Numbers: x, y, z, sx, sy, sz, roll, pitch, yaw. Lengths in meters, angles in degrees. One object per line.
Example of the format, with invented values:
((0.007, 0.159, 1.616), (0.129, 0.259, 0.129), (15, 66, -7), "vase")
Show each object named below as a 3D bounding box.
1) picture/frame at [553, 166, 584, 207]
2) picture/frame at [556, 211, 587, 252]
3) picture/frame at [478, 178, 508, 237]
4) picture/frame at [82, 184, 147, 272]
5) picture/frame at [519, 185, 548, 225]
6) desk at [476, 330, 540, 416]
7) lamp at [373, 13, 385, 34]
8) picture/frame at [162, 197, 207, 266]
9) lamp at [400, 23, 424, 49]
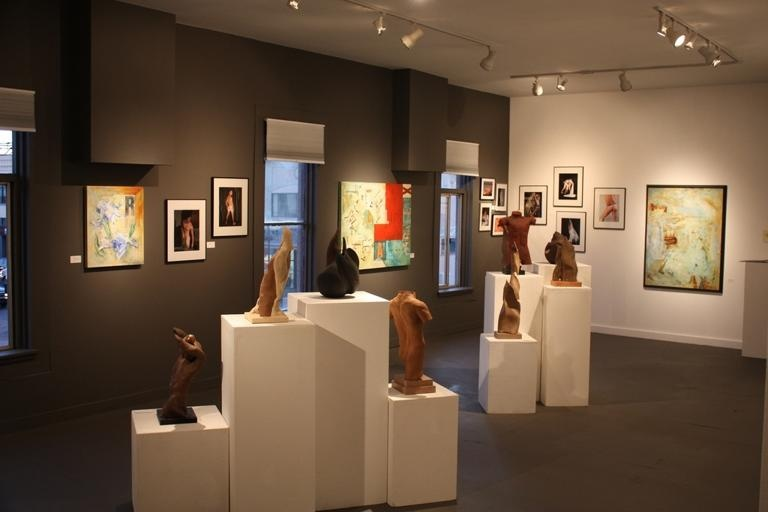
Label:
((3.625, -1.333, 11.181), (0.574, 0.847, 0.040), (5, 32, 25), "picture/frame")
((3.426, -0.438, 10.286), (0.700, 1.074, 0.050), (-1, -3, 43), "picture/frame")
((2.096, -0.958, 11.068), (0.101, 1.367, 1.108), (1, 1, 40), "picture/frame")
((-3.234, -0.348, 6.775), (0.926, 1.465, 0.143), (-2, 8, -39), "picture/frame")
((3.028, -1.038, 11.541), (0.546, 0.817, 0.024), (2, 29, 16), "picture/frame")
((1.629, 1.434, 7.367), (0.788, 0.942, 0.787), (26, -41, -36), "desk")
((-0.061, -2.819, 6.940), (0.081, 0.246, 0.174), (18, 23, 32), "lamp")
((-2.525, -0.316, 7.350), (0.482, 0.868, 0.039), (-1, -27, -17), "picture/frame")
((0.375, -2.802, 7.284), (0.242, 0.299, 0.440), (1, 9, 3), "lamp")
